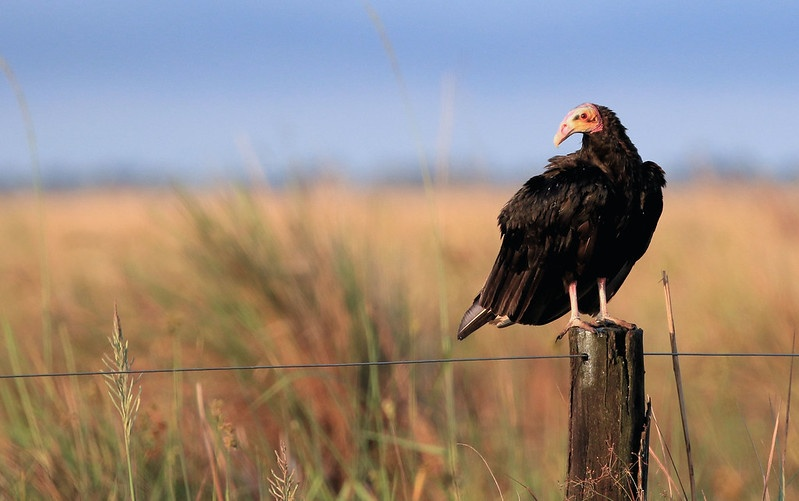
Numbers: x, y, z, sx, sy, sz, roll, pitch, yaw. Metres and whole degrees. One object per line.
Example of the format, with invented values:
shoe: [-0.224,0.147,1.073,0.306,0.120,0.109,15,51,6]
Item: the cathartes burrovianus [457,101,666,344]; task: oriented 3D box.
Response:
cathartes burrovianus: [1.112,-0.226,9.573,1.633,1.737,1.094,-2,-2,36]
